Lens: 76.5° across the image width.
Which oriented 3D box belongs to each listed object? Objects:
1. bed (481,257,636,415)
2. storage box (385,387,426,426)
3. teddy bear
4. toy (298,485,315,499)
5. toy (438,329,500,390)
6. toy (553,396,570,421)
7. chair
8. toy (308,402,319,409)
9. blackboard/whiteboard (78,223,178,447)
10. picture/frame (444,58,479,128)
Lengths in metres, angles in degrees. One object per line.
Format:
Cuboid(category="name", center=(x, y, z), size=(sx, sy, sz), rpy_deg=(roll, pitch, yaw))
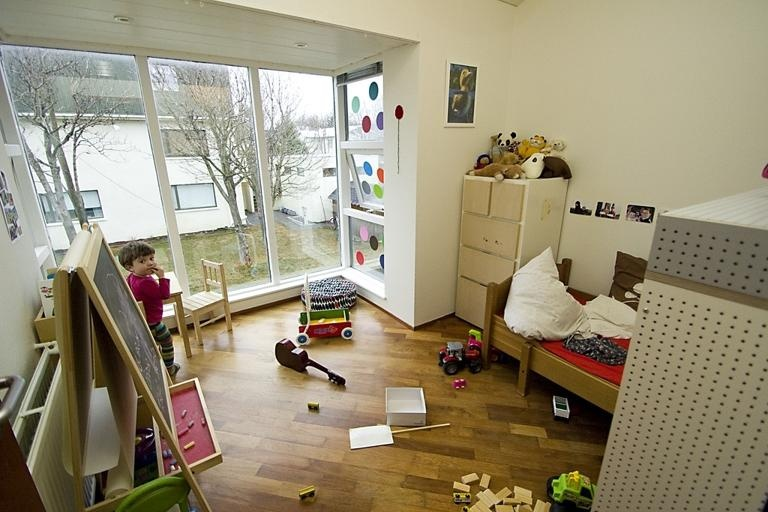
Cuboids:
Cuboid(category="bed", center=(1.253, 0.702, 3.766), size=(0.907, 0.660, 1.023), rpy_deg=(5, 33, -3))
Cuboid(category="storage box", center=(0.161, 1.118, 3.723), size=(0.307, 0.197, 0.352), rpy_deg=(-5, 18, 1))
Cuboid(category="teddy bear", center=(1.199, -0.884, 4.353), size=(0.730, 0.404, 0.654), rpy_deg=(-13, 19, -22))
Cuboid(category="toy", center=(-0.512, 1.549, 3.220), size=(0.118, 0.060, 0.071), rpy_deg=(-9, 18, -12))
Cuboid(category="toy", center=(0.690, 0.855, 4.109), size=(0.488, 0.285, 0.271), rpy_deg=(-10, 24, -6))
Cuboid(category="toy", center=(1.328, 1.128, 3.653), size=(0.099, 0.053, 0.173), rpy_deg=(3, 25, 10))
Cuboid(category="chair", center=(-1.719, 0.405, 4.601), size=(0.412, 0.666, 0.416), rpy_deg=(-15, 21, -32))
Cuboid(category="toy", center=(-0.550, 1.152, 3.775), size=(0.093, 0.046, 0.059), rpy_deg=(-7, 18, -6))
Cuboid(category="blackboard/whiteboard", center=(-1.559, 0.492, 2.950), size=(0.359, 0.955, 1.124), rpy_deg=(-13, 36, -16))
Cuboid(category="picture/frame", center=(0.663, -1.454, 4.267), size=(0.514, 0.599, 0.047), rpy_deg=(-13, 23, -35))
